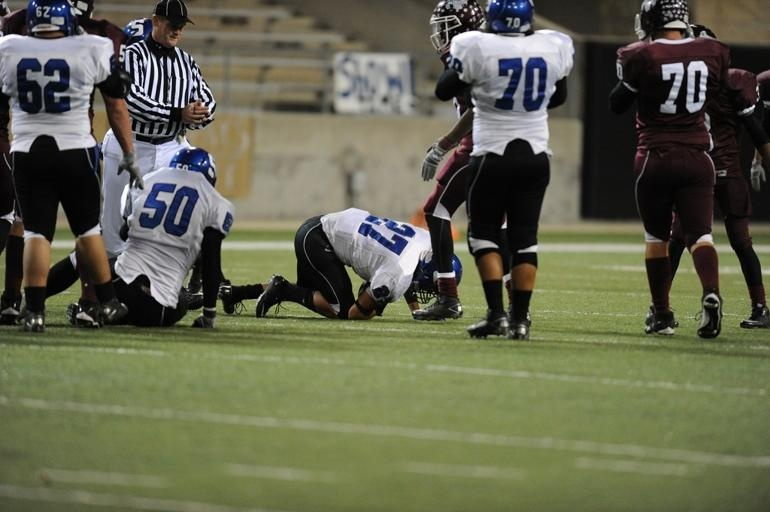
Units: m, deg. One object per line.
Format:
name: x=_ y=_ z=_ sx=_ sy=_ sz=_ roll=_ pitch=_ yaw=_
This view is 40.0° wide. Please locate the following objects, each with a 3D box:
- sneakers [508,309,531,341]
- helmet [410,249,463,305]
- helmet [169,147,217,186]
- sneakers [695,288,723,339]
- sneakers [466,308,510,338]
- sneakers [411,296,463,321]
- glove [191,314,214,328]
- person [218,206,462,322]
sneakers: x=0.879 y=0.452 z=6.846 sx=0.088 sy=0.110 sz=0.241 roll=2 pitch=6 yaw=4
helmet: x=0.418 y=0.165 z=7.932 sx=0.412 sy=0.405 sz=0.320 roll=4 pitch=5 yaw=21
helmet: x=-1.265 y=-0.590 z=7.190 sx=0.232 sy=0.261 sz=0.293 roll=18 pitch=4 yaw=7
sneakers: x=2.121 y=0.396 z=6.917 sx=0.127 sy=0.343 sz=0.149 roll=2 pitch=17 yaw=15
sneakers: x=0.703 y=0.440 z=6.820 sx=0.325 sy=0.188 sz=0.120 roll=-3 pitch=12 yaw=31
sneakers: x=0.409 y=0.388 z=7.772 sx=0.406 sy=0.207 sz=0.147 roll=0 pitch=1 yaw=7
glove: x=-1.218 y=0.436 z=7.141 sx=0.112 sy=0.097 sz=0.088 roll=15 pitch=7 yaw=38
person: x=-0.269 y=0.124 z=7.736 sx=1.532 sy=0.772 sz=0.827 roll=1 pitch=20 yaw=0
